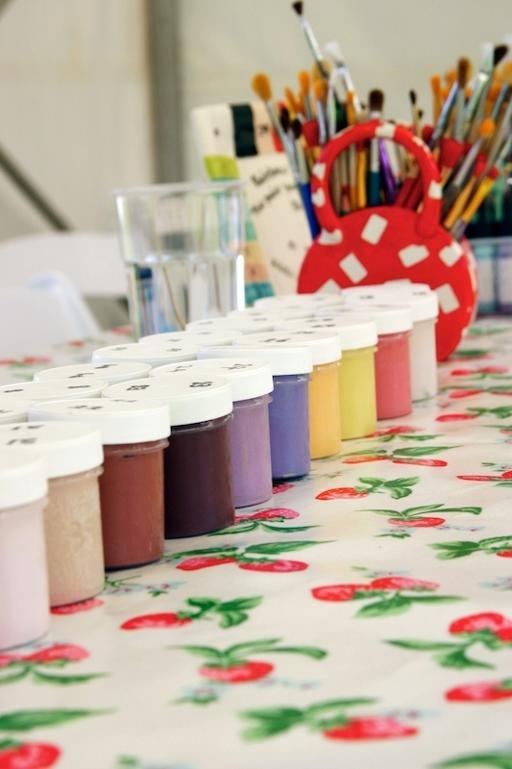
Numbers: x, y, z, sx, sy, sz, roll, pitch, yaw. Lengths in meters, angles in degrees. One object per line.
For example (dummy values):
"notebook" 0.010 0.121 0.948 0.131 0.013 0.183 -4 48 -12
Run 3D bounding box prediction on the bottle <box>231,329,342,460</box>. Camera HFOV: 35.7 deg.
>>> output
"bottle" 0.009 0.009 0.492 0.080 0.070 0.071 -7 7 -20

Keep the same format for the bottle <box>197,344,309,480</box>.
"bottle" 0.009 0.012 0.438 0.078 0.067 0.070 -2 6 -4

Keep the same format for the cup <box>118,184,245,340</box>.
"cup" -0.062 -0.106 0.664 0.142 0.142 0.097 -5 21 -8

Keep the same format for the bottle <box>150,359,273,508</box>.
"bottle" -0.023 0.033 0.422 0.068 0.060 0.062 -14 3 -9

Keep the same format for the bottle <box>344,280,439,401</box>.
"bottle" 0.100 -0.030 0.628 0.082 0.072 0.075 -7 13 -4

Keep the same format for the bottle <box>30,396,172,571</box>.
"bottle" -0.076 0.047 0.345 0.070 0.064 0.066 -1 -11 -41

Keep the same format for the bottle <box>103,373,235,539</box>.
"bottle" -0.029 0.039 0.386 0.065 0.060 0.060 -23 -3 -13

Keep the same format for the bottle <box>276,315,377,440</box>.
"bottle" 0.065 -0.007 0.513 0.077 0.069 0.077 3 11 34
